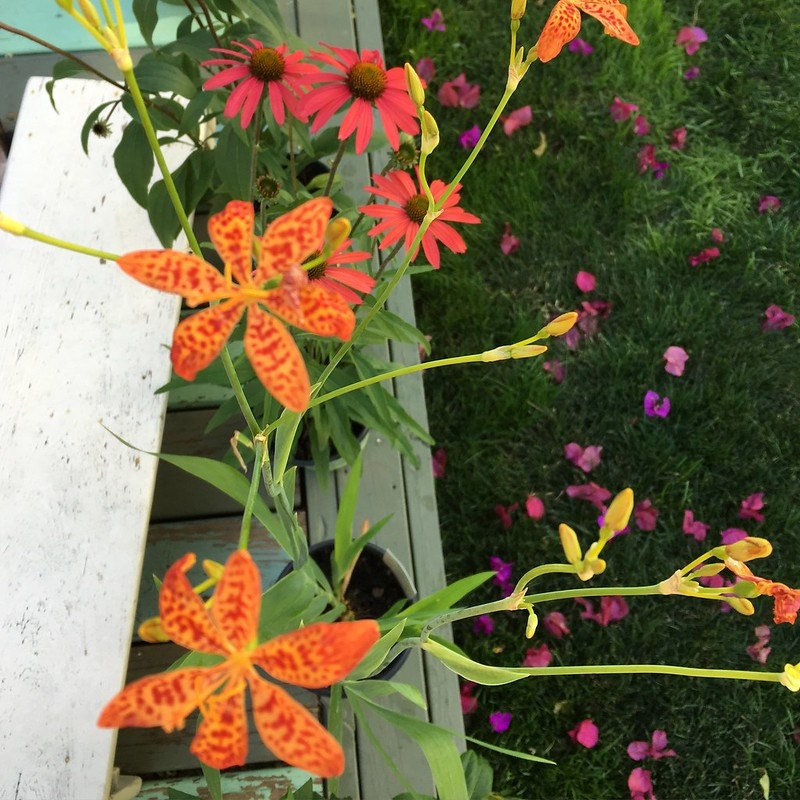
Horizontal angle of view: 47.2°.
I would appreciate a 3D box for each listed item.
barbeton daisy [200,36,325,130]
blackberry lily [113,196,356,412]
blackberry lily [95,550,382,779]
[{"bbox_3d":[-0.200,-0.499,1.400,0.186,0.187,0.051,-21,75,32],"label":"barbeton daisy"},{"bbox_3d":[-0.155,-0.114,0.964,0.279,0.119,0.205,3,93,9],"label":"blackberry lily"},{"bbox_3d":[-0.155,0.283,0.971,0.257,0.176,0.203,20,63,6],"label":"blackberry lily"}]
